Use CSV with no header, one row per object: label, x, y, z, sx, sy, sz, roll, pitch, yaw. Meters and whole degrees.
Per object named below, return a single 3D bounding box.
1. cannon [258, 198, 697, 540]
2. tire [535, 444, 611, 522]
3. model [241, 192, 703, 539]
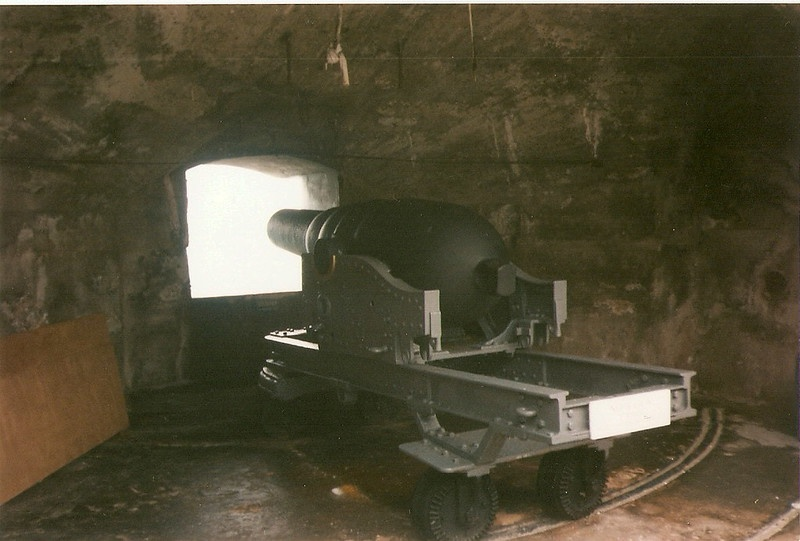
cannon,0.672,0.866,6.832,1.337,1.556,2.822,1,-1,-37
tire,1.312,1.614,6.082,0.660,0.650,0.259,-3,0,-29
model,0.692,0.836,6.905,1.362,1.585,2.883,1,-1,-37
